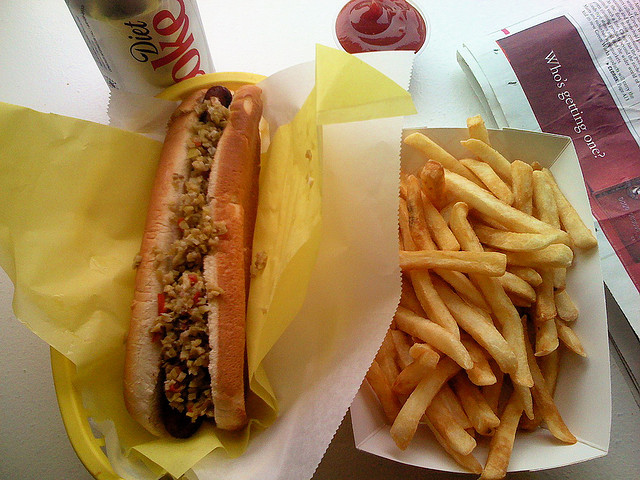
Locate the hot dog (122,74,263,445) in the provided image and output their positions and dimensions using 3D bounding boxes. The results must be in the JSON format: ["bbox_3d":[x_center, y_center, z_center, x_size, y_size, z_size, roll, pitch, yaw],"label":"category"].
[{"bbox_3d":[-0.319,0.043,1.527,0.324,0.273,1.029,1,74,6],"label":"hot dog"}]
